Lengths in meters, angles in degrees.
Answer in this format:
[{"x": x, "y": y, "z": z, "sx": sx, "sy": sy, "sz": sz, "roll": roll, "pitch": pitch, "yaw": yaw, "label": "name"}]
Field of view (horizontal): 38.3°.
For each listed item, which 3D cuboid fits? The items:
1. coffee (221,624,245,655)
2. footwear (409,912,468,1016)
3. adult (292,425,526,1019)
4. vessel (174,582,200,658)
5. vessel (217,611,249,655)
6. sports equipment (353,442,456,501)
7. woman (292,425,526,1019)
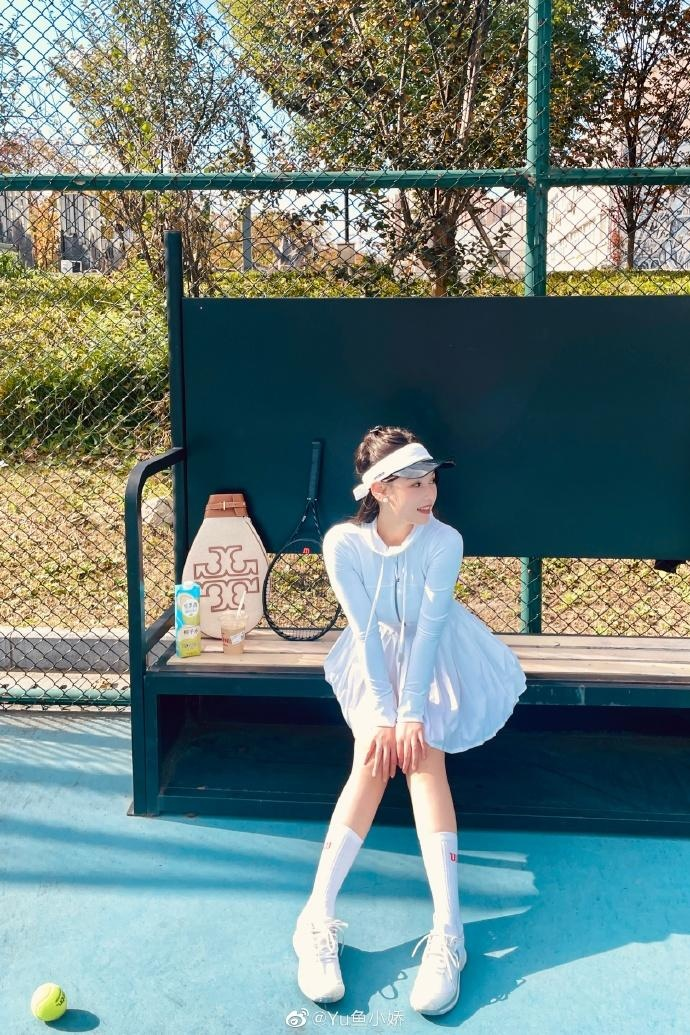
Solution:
[{"x": -0.321, "y": 0.348, "z": 2.829, "sx": 0.084, "sy": 0.083, "sz": 0.080, "roll": 3, "pitch": 6, "yaw": 6, "label": "coffee"}, {"x": 0.188, "y": 0.931, "z": 2.068, "sx": 0.075, "sy": 0.073, "sz": 0.183, "roll": -1, "pitch": 8, "yaw": 14, "label": "footwear"}, {"x": 0.151, "y": 0.382, "z": 2.357, "sx": 0.524, "sy": 1.159, "sz": 0.858, "roll": 1, "pitch": 7, "yaw": 10, "label": "adult"}, {"x": -0.452, "y": 0.293, "z": 2.835, "sx": 0.072, "sy": 0.201, "sz": 0.116, "roll": -2, "pitch": 8, "yaw": -10, "label": "vessel"}, {"x": -0.320, "y": 0.339, "z": 2.895, "sx": 0.106, "sy": 0.119, "sz": 0.099, "roll": 3, "pitch": 3, "yaw": 33, "label": "vessel"}, {"x": 0.137, "y": -0.113, "z": 2.518, "sx": 0.227, "sy": 0.075, "sz": 0.125, "roll": -28, "pitch": -13, "yaw": 17, "label": "sports equipment"}, {"x": 0.140, "y": 0.414, "z": 2.429, "sx": 0.546, "sy": 1.251, "sz": 0.586, "roll": 3, "pitch": -38, "yaw": 4, "label": "woman"}]
